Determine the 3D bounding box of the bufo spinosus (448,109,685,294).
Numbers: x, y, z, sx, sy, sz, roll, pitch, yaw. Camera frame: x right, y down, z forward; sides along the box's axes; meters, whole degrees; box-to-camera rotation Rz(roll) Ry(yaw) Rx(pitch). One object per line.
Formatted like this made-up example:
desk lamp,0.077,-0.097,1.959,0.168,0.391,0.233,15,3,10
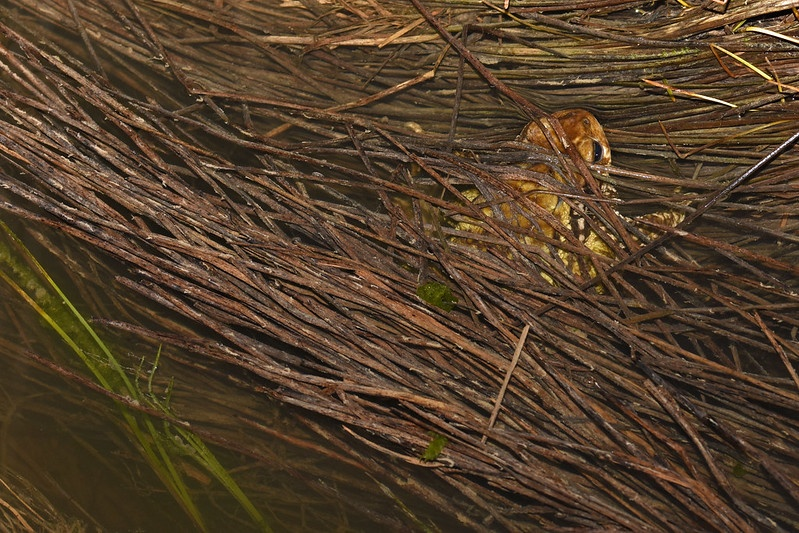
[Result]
bufo spinosus,0.631,-0.277,3.875,0.714,0.315,0.812,39,76,18
